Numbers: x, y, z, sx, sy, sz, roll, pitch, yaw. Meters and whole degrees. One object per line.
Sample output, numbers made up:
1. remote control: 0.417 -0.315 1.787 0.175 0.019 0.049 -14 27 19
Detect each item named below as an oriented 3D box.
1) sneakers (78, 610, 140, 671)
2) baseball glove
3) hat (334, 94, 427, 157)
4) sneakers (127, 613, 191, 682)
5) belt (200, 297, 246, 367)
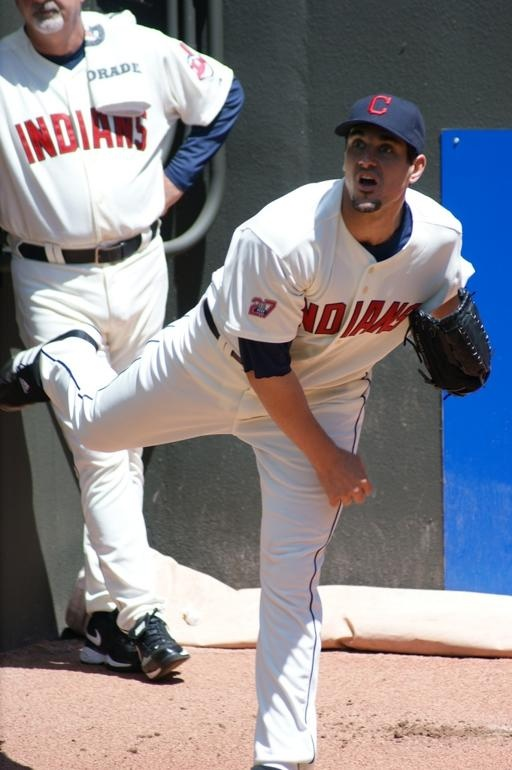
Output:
1. sneakers: -0.456 0.823 2.977 0.296 0.190 0.112 2 -5 43
2. baseball glove: 0.474 -0.092 2.204 0.143 0.232 0.209 -2 30 40
3. hat: 0.262 -0.552 1.938 0.187 0.116 0.128 7 31 3
4. sneakers: -0.309 0.777 2.779 0.106 0.131 0.292 -35 11 -9
5. belt: -0.085 -0.124 2.155 0.143 0.035 0.103 41 26 -9
